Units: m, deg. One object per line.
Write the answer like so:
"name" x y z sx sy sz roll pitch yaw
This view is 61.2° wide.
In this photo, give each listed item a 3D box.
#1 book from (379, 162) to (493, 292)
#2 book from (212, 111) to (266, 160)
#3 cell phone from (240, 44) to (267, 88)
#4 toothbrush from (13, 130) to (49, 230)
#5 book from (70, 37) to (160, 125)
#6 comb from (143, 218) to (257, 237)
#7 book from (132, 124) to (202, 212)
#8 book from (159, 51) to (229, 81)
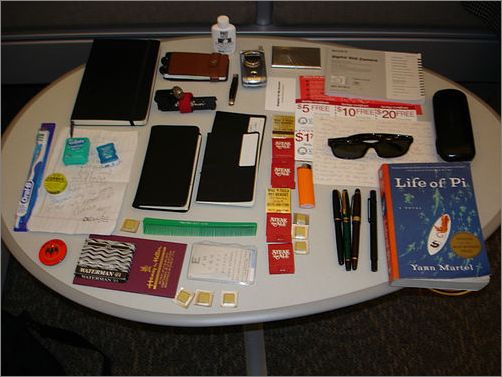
"book" 0.538 0.115 1.254 0.380 0.093 0.450 1 70 1
"book" -0.042 -0.169 1.391 0.168 0.025 0.252 7 44 7
"cell phone" 0.008 -0.430 1.511 0.081 0.047 0.145 -2 71 1
"toothbrush" -0.684 -0.034 1.350 0.046 0.026 0.318 7 66 -1
"book" -0.465 -0.364 1.478 0.264 0.158 0.374 -7 43 -11
"comb" -0.156 0.119 1.291 0.344 0.032 0.050 0 54 2
"book" -0.265 -0.074 1.350 0.175 0.053 0.269 4 65 8
"book" -0.208 -0.438 1.513 0.209 0.042 0.116 1 59 0
